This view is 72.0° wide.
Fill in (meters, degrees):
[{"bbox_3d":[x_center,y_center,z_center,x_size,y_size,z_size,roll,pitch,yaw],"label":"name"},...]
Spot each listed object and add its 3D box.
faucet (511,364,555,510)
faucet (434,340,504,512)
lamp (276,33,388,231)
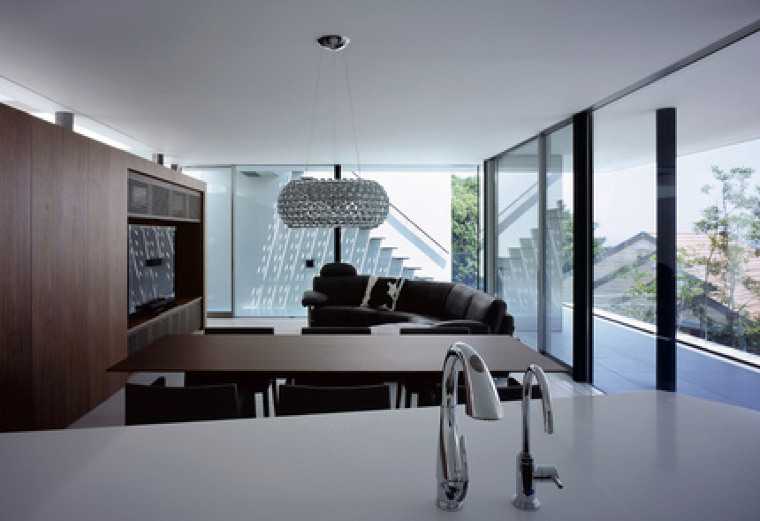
[{"bbox_3d":[0.615,0.667,1.996,0.176,0.555,0.279,5,1,18],"label":"faucet"},{"bbox_3d":[0.314,0.626,1.946,0.189,0.608,0.365,5,1,-1],"label":"faucet"},{"bbox_3d":[-0.448,-1.223,4.795,1.126,1.753,1.056,2,-9,-16],"label":"lamp"}]
